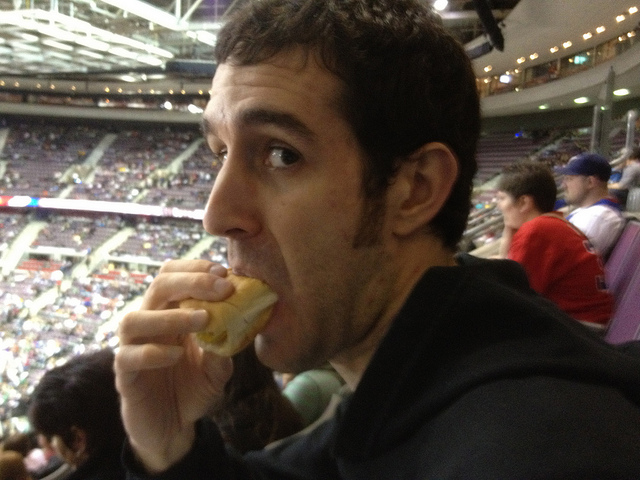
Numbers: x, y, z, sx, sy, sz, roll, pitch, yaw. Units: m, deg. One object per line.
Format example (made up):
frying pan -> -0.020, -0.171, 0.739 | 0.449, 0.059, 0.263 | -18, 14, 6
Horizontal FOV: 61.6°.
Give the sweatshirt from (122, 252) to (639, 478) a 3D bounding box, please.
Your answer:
sweatshirt -> 0.253, 0.471, 1.728 | 1.244, 0.434, 0.966 | -8, -8, 14
